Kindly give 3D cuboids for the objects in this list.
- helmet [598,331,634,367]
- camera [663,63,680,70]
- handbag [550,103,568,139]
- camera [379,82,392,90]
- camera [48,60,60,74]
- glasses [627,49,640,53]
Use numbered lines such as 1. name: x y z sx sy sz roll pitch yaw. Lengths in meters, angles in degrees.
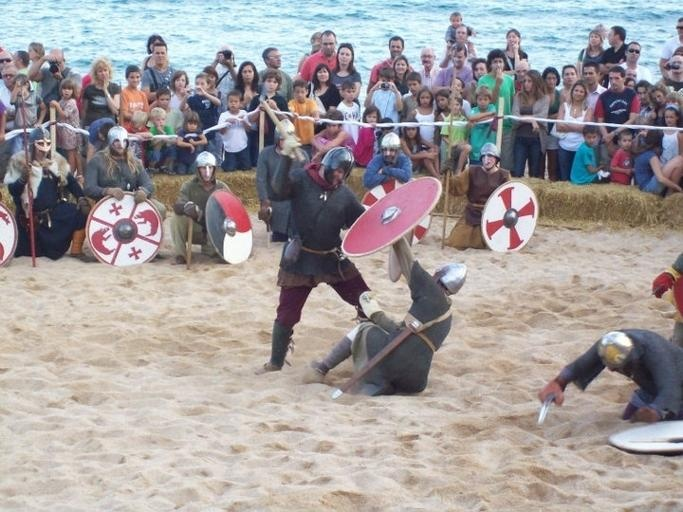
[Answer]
1. helmet: 3.247 1.111 18.393 0.400 0.399 0.312 -33 -16 14
2. camera: 5.275 -3.077 24.753 0.180 0.063 0.243 -2 7 -8
3. handbag: 3.450 -2.171 24.688 0.345 0.482 0.247 -22 23 -40
4. camera: 0.685 -2.760 24.687 0.121 0.121 0.051 -5 -10 14
5. camera: -4.508 -2.993 24.195 0.176 0.182 0.191 5 10 -16
6. glasses: 4.728 -3.379 25.095 0.198 0.090 0.153 3 12 -7
